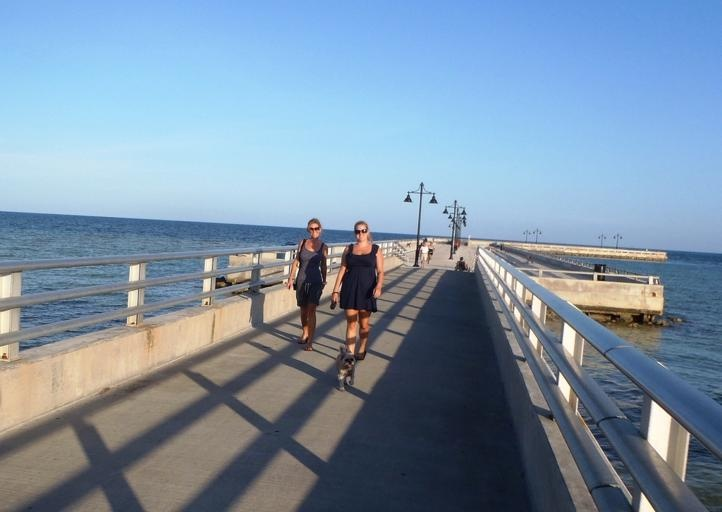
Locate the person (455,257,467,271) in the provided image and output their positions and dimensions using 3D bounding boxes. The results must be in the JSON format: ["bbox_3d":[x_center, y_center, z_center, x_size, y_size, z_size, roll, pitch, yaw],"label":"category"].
[{"bbox_3d":[6.782,0.629,33.194,0.779,0.725,1.499,-2,-7,11],"label":"person"}]

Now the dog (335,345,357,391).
[{"bbox_3d":[-0.217,1.506,6.650,0.238,0.512,1.032,2,-7,-7],"label":"dog"}]
